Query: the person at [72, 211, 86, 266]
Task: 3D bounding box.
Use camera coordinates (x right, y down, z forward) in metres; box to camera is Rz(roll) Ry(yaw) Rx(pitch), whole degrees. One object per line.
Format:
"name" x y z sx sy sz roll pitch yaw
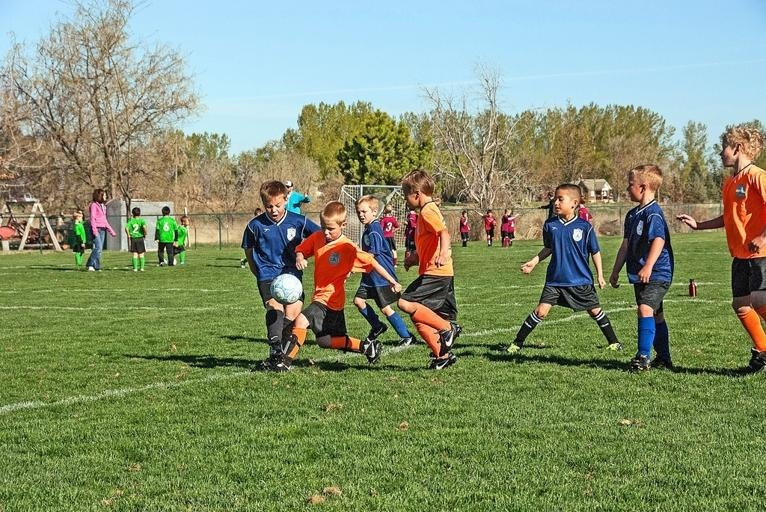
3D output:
"person" -8.292 -0.439 21.045 0.288 1.554 0.828 -6 12 -25

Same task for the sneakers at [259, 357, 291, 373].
"sneakers" -1.177 1.192 8.459 0.273 0.137 0.163 6 -6 11

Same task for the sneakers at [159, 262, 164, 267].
"sneakers" -6.415 0.229 22.373 0.093 0.112 0.127 -5 -37 -4

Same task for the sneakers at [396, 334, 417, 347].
"sneakers" 0.306 1.076 9.807 0.102 0.129 0.290 -7 -8 34

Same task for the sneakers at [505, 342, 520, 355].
"sneakers" 1.547 1.096 9.189 0.116 0.059 0.119 -16 3 -8

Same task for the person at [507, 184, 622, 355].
"person" 2.201 0.151 9.193 1.265 1.960 0.527 -2 11 -5

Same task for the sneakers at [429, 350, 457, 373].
"sneakers" 0.706 1.163 8.616 0.360 0.135 0.179 -13 37 -33

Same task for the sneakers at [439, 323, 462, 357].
"sneakers" 0.744 0.846 8.574 0.220 0.455 0.149 8 17 -4

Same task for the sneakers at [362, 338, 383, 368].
"sneakers" -0.115 1.092 8.716 0.143 0.328 0.150 -2 44 11

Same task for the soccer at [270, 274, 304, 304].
"soccer" -1.049 0.385 8.334 0.307 0.330 0.314 5 -8 -7

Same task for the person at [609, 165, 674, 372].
"person" 2.881 0.130 8.497 0.676 2.213 1.039 2 11 18

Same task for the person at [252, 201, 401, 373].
"person" -0.569 0.343 8.359 1.242 1.849 0.425 -3 11 -12

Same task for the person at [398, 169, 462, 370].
"person" 0.524 0.163 8.567 0.652 2.209 0.790 0 11 5

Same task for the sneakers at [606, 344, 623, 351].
"sneakers" 2.782 1.083 9.231 0.140 0.065 0.076 -5 -1 42
